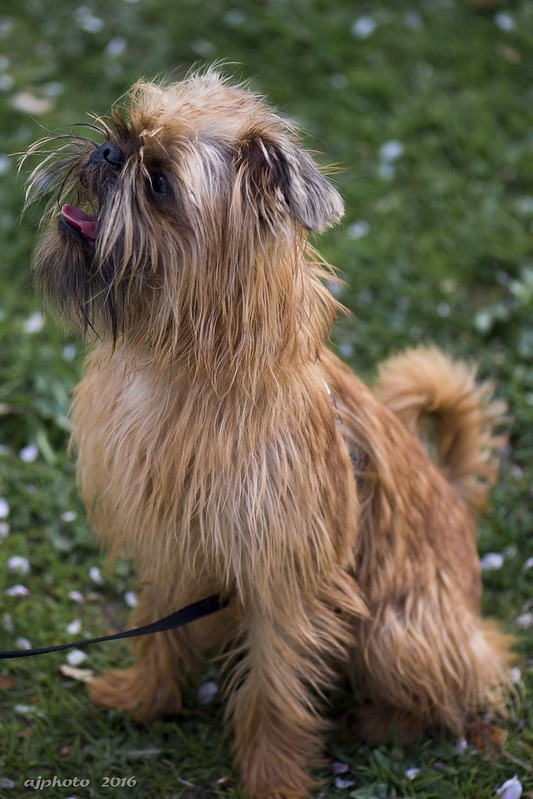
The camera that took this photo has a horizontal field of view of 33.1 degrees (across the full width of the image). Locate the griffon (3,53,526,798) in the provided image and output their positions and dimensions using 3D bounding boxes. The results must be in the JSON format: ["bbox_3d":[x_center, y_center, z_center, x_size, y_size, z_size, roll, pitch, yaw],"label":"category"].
[{"bbox_3d":[0.012,0.144,2.569,1.439,1.885,0.984,15,35,22],"label":"griffon"}]
